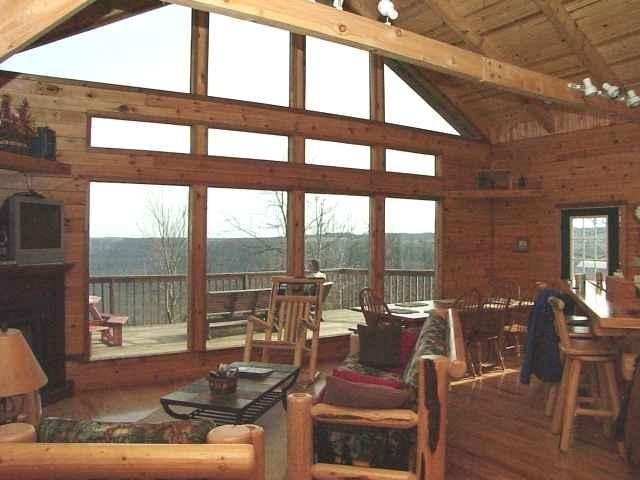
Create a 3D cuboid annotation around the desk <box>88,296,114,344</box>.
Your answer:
[{"bbox_3d":[-2.700,0.970,6.747,0.236,0.552,0.349,-6,13,-25],"label":"desk"}]

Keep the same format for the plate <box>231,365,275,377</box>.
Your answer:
[{"bbox_3d":[-0.671,1.324,5.557,0.286,0.044,0.201,2,1,9],"label":"plate"}]

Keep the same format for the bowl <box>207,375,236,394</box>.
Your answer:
[{"bbox_3d":[-0.902,1.314,5.070,0.204,0.094,0.154,0,0,18],"label":"bowl"}]
